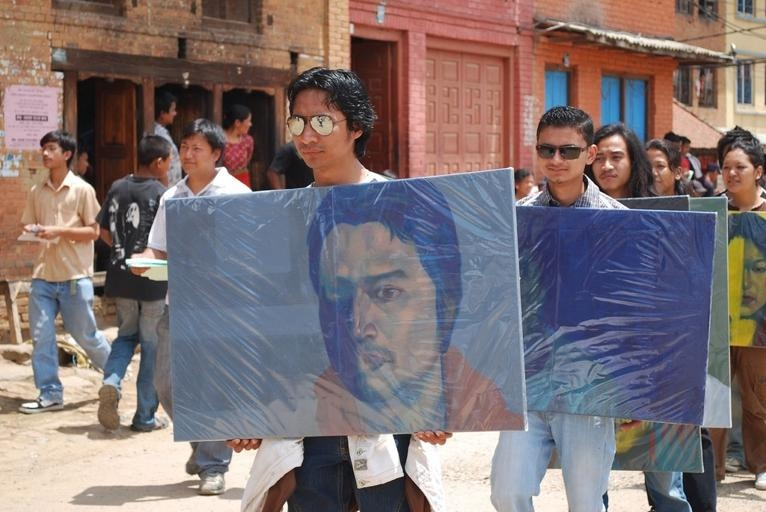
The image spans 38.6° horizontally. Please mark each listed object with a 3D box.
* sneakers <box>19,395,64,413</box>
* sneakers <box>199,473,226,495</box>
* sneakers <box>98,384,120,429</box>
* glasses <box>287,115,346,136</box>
[{"bbox_3d":[-3.409,1.500,10.930,0.432,0.168,0.158,5,-4,-28],"label":"sneakers"},{"bbox_3d":[-1.443,1.936,9.278,0.246,0.189,0.158,-5,15,-22],"label":"sneakers"},{"bbox_3d":[-2.573,1.434,10.320,0.194,0.454,0.188,1,5,3],"label":"sneakers"},{"bbox_3d":[-0.478,-0.880,7.379,0.385,0.151,0.140,3,14,8],"label":"glasses"}]
